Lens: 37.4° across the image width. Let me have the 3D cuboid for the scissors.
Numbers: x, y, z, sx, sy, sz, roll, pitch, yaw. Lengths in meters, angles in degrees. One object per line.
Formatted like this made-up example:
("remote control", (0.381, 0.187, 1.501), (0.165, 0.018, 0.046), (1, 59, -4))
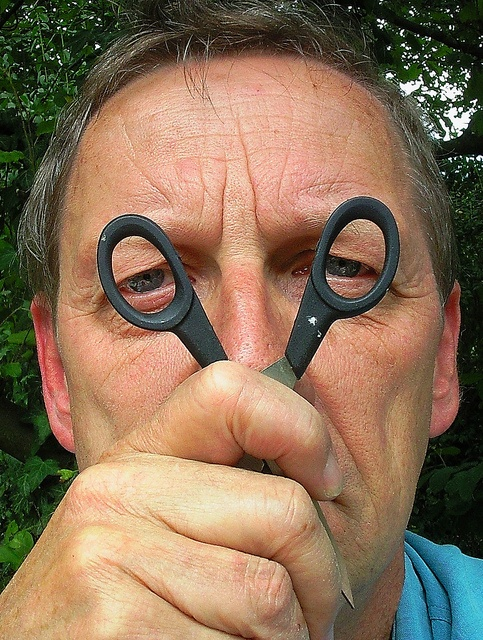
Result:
("scissors", (-0.004, 0.067, 0.973), (0.369, 0.449, 0.281), (6, 27, 13))
